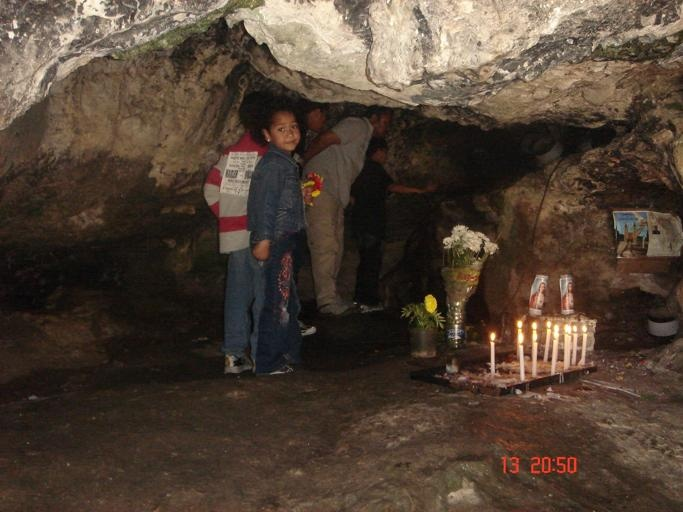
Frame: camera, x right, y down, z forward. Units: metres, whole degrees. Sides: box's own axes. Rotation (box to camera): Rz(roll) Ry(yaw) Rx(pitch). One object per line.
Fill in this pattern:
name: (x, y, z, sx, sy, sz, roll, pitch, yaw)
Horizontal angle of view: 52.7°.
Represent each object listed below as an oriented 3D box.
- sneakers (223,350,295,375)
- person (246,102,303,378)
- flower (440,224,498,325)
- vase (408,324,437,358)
sneakers: (-0.727, 0.894, 5.843, 0.678, 0.223, 0.205, -1, -1, -18)
person: (-0.582, -0.126, 5.695, 0.363, 2.276, 0.592, 4, 13, 25)
flower: (1.190, 0.098, 6.515, 0.510, 0.762, 0.375, 2, 12, 16)
vase: (0.720, 0.767, 6.127, 0.302, 0.239, 0.283, 1, 1, -1)
